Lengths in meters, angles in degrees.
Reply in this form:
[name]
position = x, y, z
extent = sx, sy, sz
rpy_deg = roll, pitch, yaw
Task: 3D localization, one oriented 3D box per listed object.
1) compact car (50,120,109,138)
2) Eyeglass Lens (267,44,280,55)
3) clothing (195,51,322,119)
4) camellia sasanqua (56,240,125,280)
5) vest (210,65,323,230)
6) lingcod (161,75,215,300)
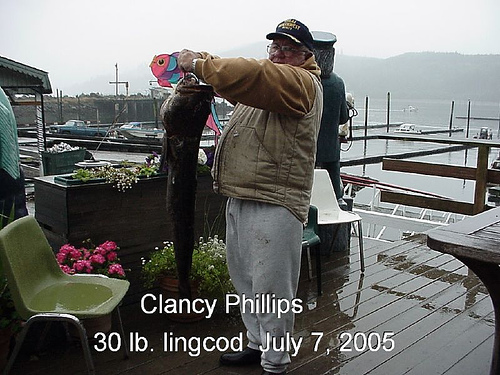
[compact car]
position = -12.912, -4.365, 30.082
extent = 3.804, 1.000, 3.955
rpy_deg = -1, 12, -8
[Eyeglass Lens]
position = 0.143, -0.868, 2.581
extent = 0.071, 0.084, 0.026
rpy_deg = 11, 12, 16
[clothing]
position = 0.041, -0.610, 2.396
extent = 0.584, 0.285, 0.529
rpy_deg = 14, 13, -5
[camellia sasanqua]
position = -1.349, 0.611, 3.368
extent = 0.369, 0.268, 0.402
rpy_deg = 10, 7, -3
[vest]
position = 0.102, -0.359, 2.831
extent = 0.618, 1.180, 0.867
rpy_deg = 2, 7, -21
[lingcod]
position = -0.400, 0.002, 2.571
extent = 0.271, 1.353, 0.340
rpy_deg = 3, 10, 1
